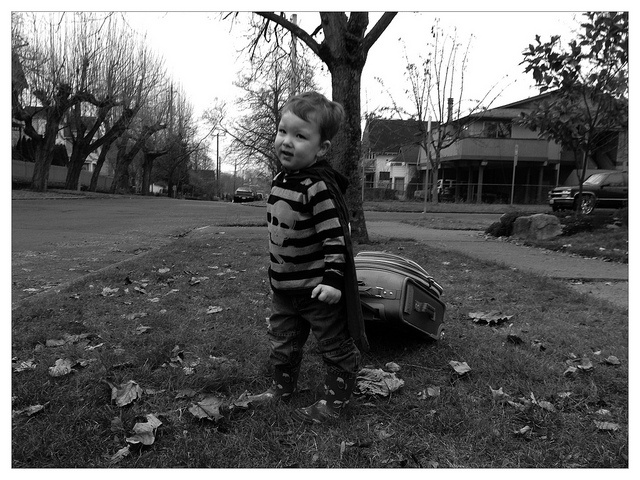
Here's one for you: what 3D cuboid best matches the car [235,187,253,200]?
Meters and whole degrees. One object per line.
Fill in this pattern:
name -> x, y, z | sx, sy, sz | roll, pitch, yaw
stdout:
car -> -7.523, -4.375, 41.679 | 1.608, 1.256, 2.874 | 2, 11, 7

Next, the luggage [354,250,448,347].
luggage -> 0.548, 0.460, 3.194 | 0.687, 0.515, 0.751 | -5, -3, 3

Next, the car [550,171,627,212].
car -> 11.497, -1.944, 17.639 | 2.501, 1.711, 2.864 | 1, 11, 2

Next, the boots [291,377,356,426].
boots -> 0.030, 0.872, 2.384 | 0.380, 0.286, 0.160 | 10, 1, -38

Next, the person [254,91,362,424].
person -> -0.071, 0.084, 2.365 | 0.566, 1.740, 0.513 | -3, 10, -17
